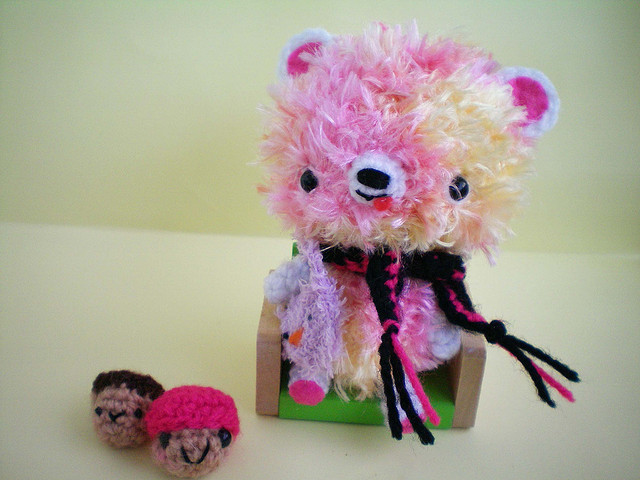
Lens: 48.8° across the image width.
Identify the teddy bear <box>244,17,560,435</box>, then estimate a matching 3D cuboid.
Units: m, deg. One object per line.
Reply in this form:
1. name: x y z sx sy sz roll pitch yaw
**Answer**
1. teddy bear: 0.097 -0.010 1.449 0.537 0.654 0.751 4 -55 5
